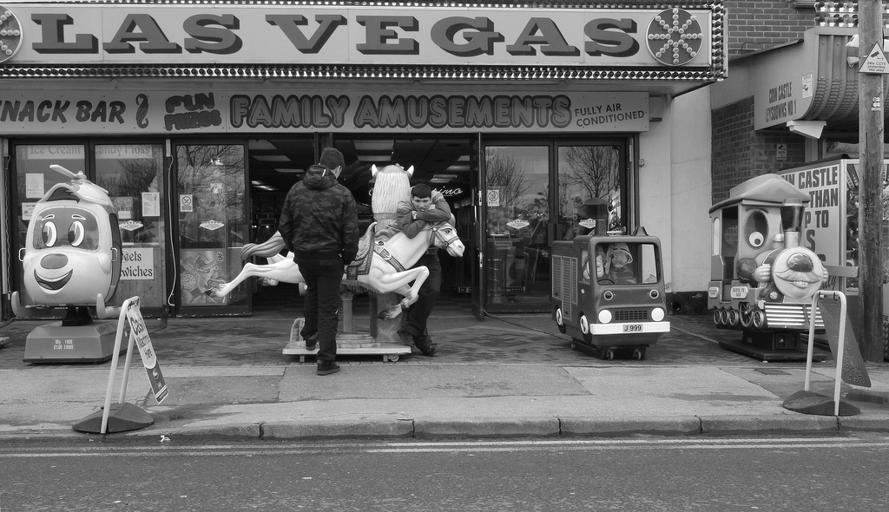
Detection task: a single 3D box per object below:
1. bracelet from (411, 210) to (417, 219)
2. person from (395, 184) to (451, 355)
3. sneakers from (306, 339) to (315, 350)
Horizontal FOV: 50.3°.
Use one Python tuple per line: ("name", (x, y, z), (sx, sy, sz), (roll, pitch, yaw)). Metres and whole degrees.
("bracelet", (-0.545, -0.715, 17.169), (0.113, 0.154, 0.074), (4, 8, 23))
("person", (-0.386, 0.294, 17.434), (0.858, 3.160, 0.707), (4, 8, 26))
("sneakers", (-2.404, 1.599, 17.010), (0.180, 0.158, 0.172), (0, 4, -5))
